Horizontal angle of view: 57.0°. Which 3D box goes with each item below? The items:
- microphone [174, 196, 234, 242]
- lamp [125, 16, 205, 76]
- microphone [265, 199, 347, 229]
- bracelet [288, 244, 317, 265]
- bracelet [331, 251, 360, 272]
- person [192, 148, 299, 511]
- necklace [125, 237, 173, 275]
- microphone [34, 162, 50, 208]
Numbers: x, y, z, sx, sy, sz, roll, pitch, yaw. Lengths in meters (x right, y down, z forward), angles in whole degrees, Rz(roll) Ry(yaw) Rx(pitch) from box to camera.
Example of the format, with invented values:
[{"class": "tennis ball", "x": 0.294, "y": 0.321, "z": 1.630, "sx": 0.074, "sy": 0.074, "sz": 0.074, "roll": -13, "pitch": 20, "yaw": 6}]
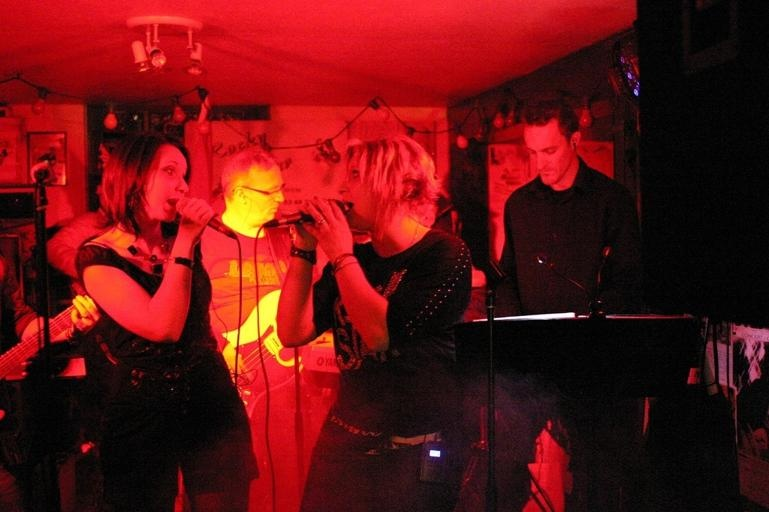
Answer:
[{"class": "microphone", "x": -0.936, "y": -0.196, "z": 3.619, "sx": 0.069, "sy": 0.264, "sz": 0.060, "roll": -50, "pitch": 0, "yaw": 38}, {"class": "lamp", "x": -1.068, "y": -1.048, "z": 3.469, "sx": 0.286, "sy": 0.208, "sz": 0.295, "roll": -2, "pitch": 1, "yaw": 17}, {"class": "microphone", "x": -0.424, "y": -0.216, "z": 3.646, "sx": 0.303, "sy": 0.072, "sz": 0.078, "roll": -10, "pitch": -35, "yaw": -4}, {"class": "bracelet", "x": -0.412, "y": -0.016, "z": 3.613, "sx": 0.098, "sy": 0.050, "sz": 0.097, "roll": 18, "pitch": 6, "yaw": 12}, {"class": "bracelet", "x": -0.199, "y": 0.032, "z": 3.616, "sx": 0.104, "sy": 0.049, "sz": 0.083, "roll": -30, "pitch": -16, "yaw": 13}, {"class": "person", "x": -0.668, "y": 0.171, "z": 3.564, "sx": 0.525, "sy": 1.362, "sz": 0.168, "roll": -8, "pitch": 4, "yaw": -25}, {"class": "necklace", "x": -1.190, "y": -0.001, "z": 3.580, "sx": 0.196, "sy": 0.188, "sz": 0.068, "roll": -7, "pitch": -2, "yaw": -10}, {"class": "microphone", "x": -1.681, "y": -0.351, "z": 3.491, "sx": 0.070, "sy": 0.257, "sz": 0.138, "roll": -1, "pitch": -3, "yaw": -25}]
